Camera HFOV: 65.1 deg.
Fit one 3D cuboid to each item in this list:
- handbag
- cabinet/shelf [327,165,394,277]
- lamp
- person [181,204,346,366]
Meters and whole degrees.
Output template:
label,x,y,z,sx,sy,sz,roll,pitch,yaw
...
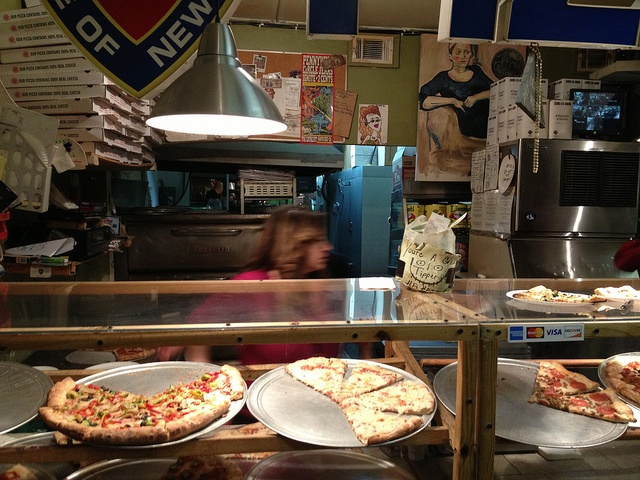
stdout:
label,x,y,z,sx,sy,sz,roll,pitch,yaw
handbag,0.400,0.045,1.905,0.226,0.294,0.182,11,7,24
cabinet/shelf,0.546,-0.267,6.381,0.503,1.425,1.510,-2,7,-13
lamp,-0.431,-0.696,2.056,0.537,0.349,0.536,2,14,-15
person,-0.315,0.188,2.420,0.758,0.920,0.303,8,-9,-42
